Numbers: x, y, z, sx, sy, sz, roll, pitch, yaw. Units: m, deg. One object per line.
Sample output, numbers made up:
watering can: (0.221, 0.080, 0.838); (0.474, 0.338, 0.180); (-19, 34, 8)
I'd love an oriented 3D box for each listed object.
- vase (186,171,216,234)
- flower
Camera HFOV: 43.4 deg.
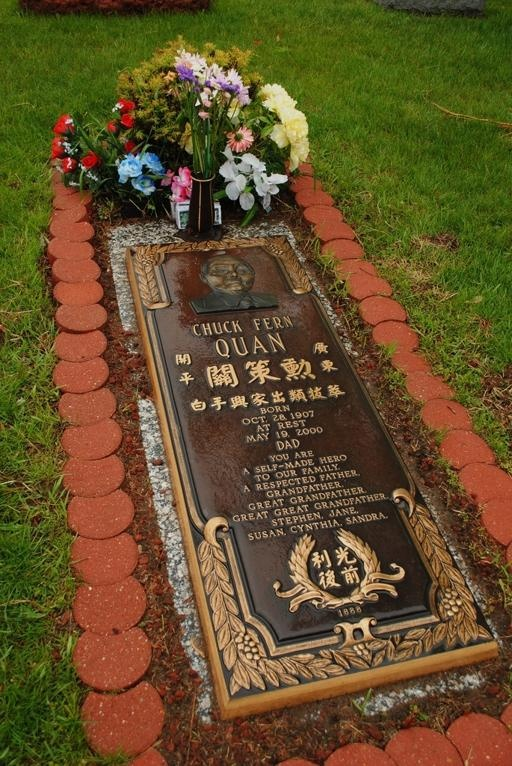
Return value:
vase: (-0.272, -0.861, 3.128); (0.145, 0.299, 0.146); (-3, 31, -4)
flower: (-0.389, -1.255, 3.276); (1.303, 0.824, 0.777); (2, 30, 3)
